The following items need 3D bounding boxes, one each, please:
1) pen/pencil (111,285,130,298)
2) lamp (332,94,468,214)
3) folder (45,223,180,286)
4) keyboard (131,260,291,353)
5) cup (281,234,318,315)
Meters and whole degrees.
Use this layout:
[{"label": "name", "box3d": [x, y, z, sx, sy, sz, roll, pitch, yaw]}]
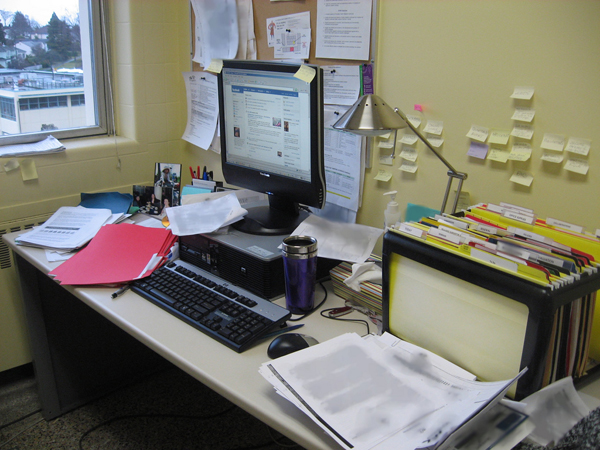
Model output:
[{"label": "pen/pencil", "box3d": [-0.566, 0.208, 1.392, 0.016, 0.015, 0.065, 19, 20, -3]}, {"label": "lamp", "box3d": [0.292, -0.283, 1.313, 0.378, 0.380, 0.321, 20, 26, 36]}, {"label": "folder", "box3d": [-0.649, 0.106, 1.553, 0.374, 0.073, 0.374, 8, 21, 16]}, {"label": "keyboard", "box3d": [-0.285, 0.221, 1.330, 0.519, 0.048, 0.190, 19, 29, 34]}, {"label": "cup", "box3d": [-0.001, 0.147, 1.361, 0.128, 0.219, 0.121, 4, 17, -1]}]
